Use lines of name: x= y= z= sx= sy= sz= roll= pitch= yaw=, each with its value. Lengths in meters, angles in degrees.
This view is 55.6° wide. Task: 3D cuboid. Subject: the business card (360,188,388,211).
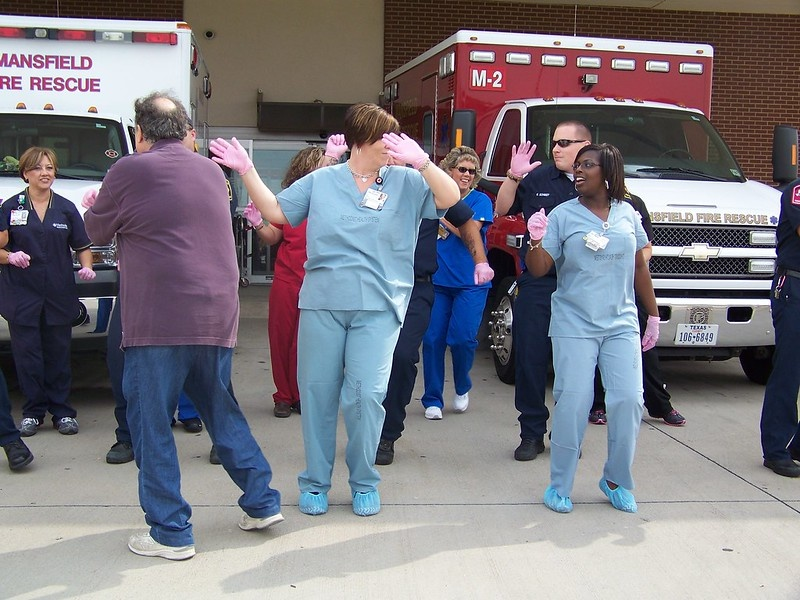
business card: x=-0.135 y=-0.543 z=4.169 sx=0.141 sy=0.117 sz=0.043 roll=1 pitch=9 yaw=-3

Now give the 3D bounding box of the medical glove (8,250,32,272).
medical glove: x=-2.701 y=-0.272 z=5.395 sx=0.134 sy=0.100 sz=0.059 roll=12 pitch=37 yaw=24

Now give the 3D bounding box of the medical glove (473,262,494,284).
medical glove: x=0.594 y=-0.186 z=5.428 sx=0.154 sy=0.134 sz=0.234 roll=-14 pitch=11 yaw=4

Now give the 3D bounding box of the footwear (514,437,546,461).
footwear: x=0.898 y=1.043 z=5.284 sx=0.095 sy=0.100 sz=0.261 roll=-2 pitch=-8 yaw=30

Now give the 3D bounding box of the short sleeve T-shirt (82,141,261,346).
short sleeve T-shirt: x=-1.255 y=-0.257 z=4.056 sx=0.799 sy=1.023 sz=0.741 roll=-3 pitch=0 yaw=18

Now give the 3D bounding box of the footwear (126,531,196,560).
footwear: x=-1.232 y=1.264 z=3.940 sx=0.351 sy=0.155 sz=0.128 roll=7 pitch=-1 yaw=11

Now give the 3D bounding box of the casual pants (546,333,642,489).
casual pants: x=1.137 y=0.668 z=4.441 sx=0.519 sy=0.984 sz=0.232 roll=3 pitch=9 yaw=11

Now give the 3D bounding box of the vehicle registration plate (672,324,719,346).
vehicle registration plate: x=2.506 y=0.293 z=6.410 sx=0.396 sy=0.180 sz=0.035 roll=-1 pitch=9 yaw=-13

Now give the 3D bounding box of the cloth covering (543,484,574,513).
cloth covering: x=0.926 y=1.172 z=4.505 sx=0.116 sy=0.057 sz=0.162 roll=-5 pitch=8 yaw=-22

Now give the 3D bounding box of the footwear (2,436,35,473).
footwear: x=-2.441 y=0.990 z=4.876 sx=0.109 sy=0.127 sz=0.300 roll=-41 pitch=17 yaw=-16

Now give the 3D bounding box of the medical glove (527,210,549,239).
medical glove: x=0.767 y=-0.443 z=4.361 sx=0.075 sy=0.157 sz=0.126 roll=22 pitch=5 yaw=31

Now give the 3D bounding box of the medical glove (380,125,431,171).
medical glove: x=0.058 y=-0.816 z=4.068 sx=0.320 sy=0.201 sz=0.077 roll=34 pitch=40 yaw=29

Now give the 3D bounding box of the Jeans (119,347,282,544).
Jeans: x=-1.055 y=0.633 z=3.986 sx=0.713 sy=1.234 sz=0.350 roll=-6 pitch=-8 yaw=-45

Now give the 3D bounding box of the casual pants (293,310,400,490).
casual pants: x=-0.327 y=0.533 z=4.367 sx=0.543 sy=1.157 sz=0.421 roll=1 pitch=-18 yaw=15

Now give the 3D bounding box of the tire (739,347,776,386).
tire: x=3.445 y=0.630 z=7.373 sx=0.155 sy=0.341 sz=0.349 roll=-1 pitch=-17 yaw=-42

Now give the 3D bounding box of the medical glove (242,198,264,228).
medical glove: x=-0.800 y=-0.474 z=4.244 sx=0.050 sy=0.145 sz=0.110 roll=-22 pitch=47 yaw=-19

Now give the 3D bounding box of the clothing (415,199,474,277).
clothing: x=0.324 y=-0.422 z=5.381 sx=0.487 sy=0.532 sz=0.147 roll=20 pitch=-17 yaw=11

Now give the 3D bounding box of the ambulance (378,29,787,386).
ambulance: x=1.780 y=-1.390 z=8.446 sx=2.466 sy=2.462 sz=4.621 roll=-1 pitch=7 yaw=-10
